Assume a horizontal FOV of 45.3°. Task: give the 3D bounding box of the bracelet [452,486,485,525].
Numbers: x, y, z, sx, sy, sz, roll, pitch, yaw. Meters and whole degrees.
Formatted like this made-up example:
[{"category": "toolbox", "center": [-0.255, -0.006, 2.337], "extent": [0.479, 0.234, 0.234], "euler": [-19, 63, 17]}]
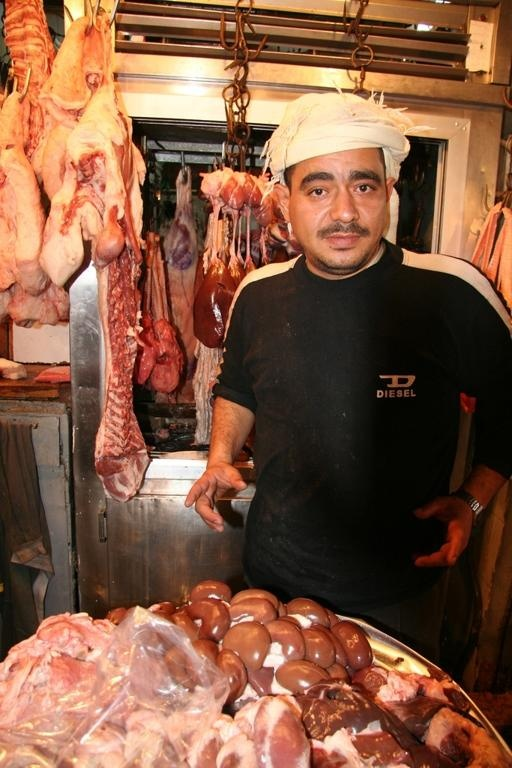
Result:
[{"category": "bracelet", "center": [0.499, 0.284, 1.438], "extent": [0.078, 0.070, 0.051], "euler": [27, 17, -31]}]
